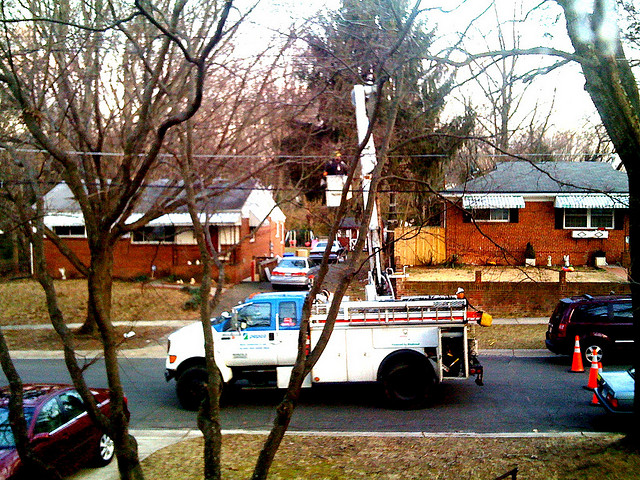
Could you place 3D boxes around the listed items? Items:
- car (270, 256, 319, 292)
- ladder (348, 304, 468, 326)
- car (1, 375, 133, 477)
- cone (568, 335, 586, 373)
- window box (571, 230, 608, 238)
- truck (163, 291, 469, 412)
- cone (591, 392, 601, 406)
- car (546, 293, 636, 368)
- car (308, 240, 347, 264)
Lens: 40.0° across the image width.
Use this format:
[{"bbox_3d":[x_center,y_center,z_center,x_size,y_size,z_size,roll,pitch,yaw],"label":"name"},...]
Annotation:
[{"bbox_3d":[-1.083,1.396,37.330,1.168,0.828,2.594,0,4,8],"label":"car"},{"bbox_3d":[1.915,1.794,20.441,1.991,0.308,0.983,-1,0,2],"label":"ladder"},{"bbox_3d":[-5.095,3.673,17.433,1.575,1.098,3.464,-1,-2,15],"label":"car"},{"bbox_3d":[6.817,3.016,23.290,0.439,0.933,0.611,1,10,18],"label":"cone"},{"bbox_3d":[11.313,-0.193,37.227,1.298,0.327,0.466,1,9,17],"label":"window box"},{"bbox_3d":[-0.011,2.740,21.584,7.506,2.567,2.909,0,-1,6],"label":"truck"},{"bbox_3d":[6.411,3.751,20.480,0.189,0.199,0.185,-2,-8,-1],"label":"cone"},{"bbox_3d":[7.416,2.344,23.748,2.706,1.154,1.288,-4,1,2],"label":"car"},{"bbox_3d":[0.221,0.732,43.592,1.151,0.696,2.233,-1,-4,9],"label":"car"}]
